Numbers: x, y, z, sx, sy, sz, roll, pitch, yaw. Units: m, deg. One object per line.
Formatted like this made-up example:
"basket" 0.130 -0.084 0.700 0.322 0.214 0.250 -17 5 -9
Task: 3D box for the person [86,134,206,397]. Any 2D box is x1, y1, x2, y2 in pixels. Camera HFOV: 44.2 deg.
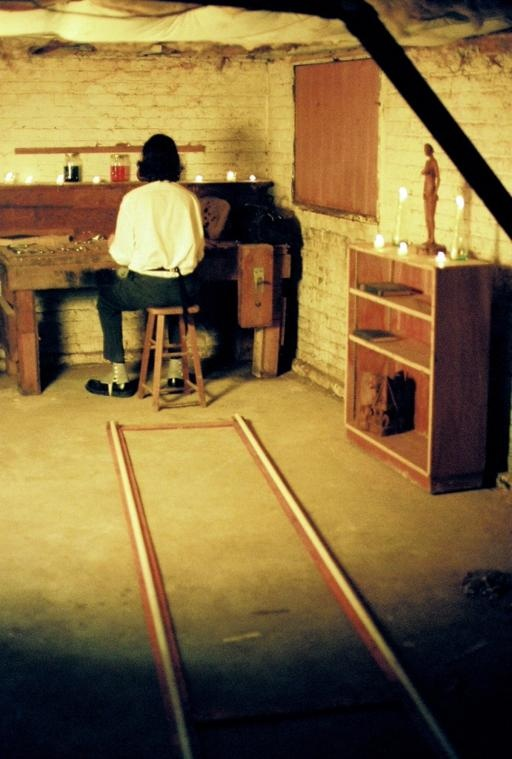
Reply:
"person" -0.931 -0.929 5.600 0.773 2.304 0.914 -8 16 -34

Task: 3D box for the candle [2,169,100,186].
"candle" -2.207 -2.085 6.490 0.800 0.185 0.205 -3 14 -16

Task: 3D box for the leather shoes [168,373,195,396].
"leather shoes" -0.770 0.046 6.016 0.200 0.155 0.198 1 1 25

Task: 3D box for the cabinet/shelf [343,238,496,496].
"cabinet/shelf" 1.142 -0.067 4.328 0.484 1.715 1.505 -2 12 -10
